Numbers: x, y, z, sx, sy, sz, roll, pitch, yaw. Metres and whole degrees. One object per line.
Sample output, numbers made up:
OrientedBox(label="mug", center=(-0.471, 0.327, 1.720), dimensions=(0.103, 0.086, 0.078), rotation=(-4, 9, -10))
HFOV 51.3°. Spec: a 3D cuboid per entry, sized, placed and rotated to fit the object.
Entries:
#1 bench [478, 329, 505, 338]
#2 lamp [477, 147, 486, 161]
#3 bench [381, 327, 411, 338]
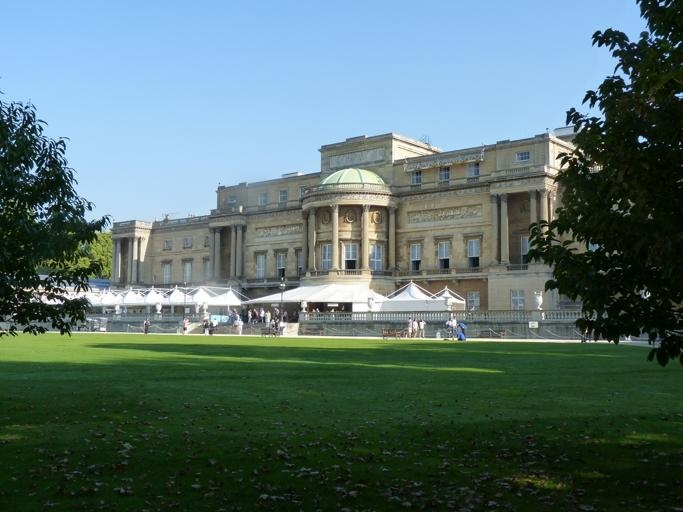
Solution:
OrientedBox(label="bench", center=(10.463, 5.298, 49.293), dimensions=(0.899, 0.609, 2.432), rotation=(-2, -2, -24))
OrientedBox(label="lamp", center=(12.750, -9.234, 64.396), dimensions=(0.537, 1.186, 0.436), rotation=(-4, -3, 11))
OrientedBox(label="bench", center=(3.960, 5.536, 51.340), dimensions=(0.909, 0.626, 1.570), rotation=(1, 2, 43))
